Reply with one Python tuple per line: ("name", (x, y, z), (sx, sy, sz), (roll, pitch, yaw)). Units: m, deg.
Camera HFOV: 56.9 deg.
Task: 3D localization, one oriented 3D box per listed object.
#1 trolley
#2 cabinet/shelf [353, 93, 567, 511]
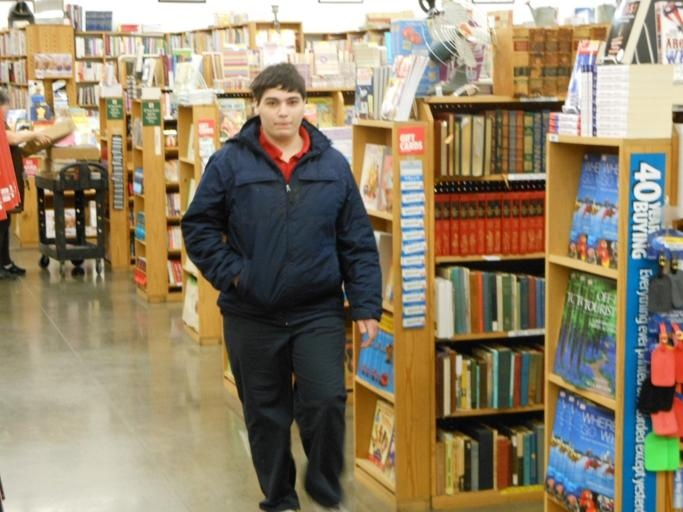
("trolley", (-4.014, -0.598, 9.315), (0.954, 1.666, 0.848), (6, 6, 38))
("cabinet/shelf", (0.661, 0.251, 3.461), (0.618, 2.067, 2.001), (1, 6, 19))
